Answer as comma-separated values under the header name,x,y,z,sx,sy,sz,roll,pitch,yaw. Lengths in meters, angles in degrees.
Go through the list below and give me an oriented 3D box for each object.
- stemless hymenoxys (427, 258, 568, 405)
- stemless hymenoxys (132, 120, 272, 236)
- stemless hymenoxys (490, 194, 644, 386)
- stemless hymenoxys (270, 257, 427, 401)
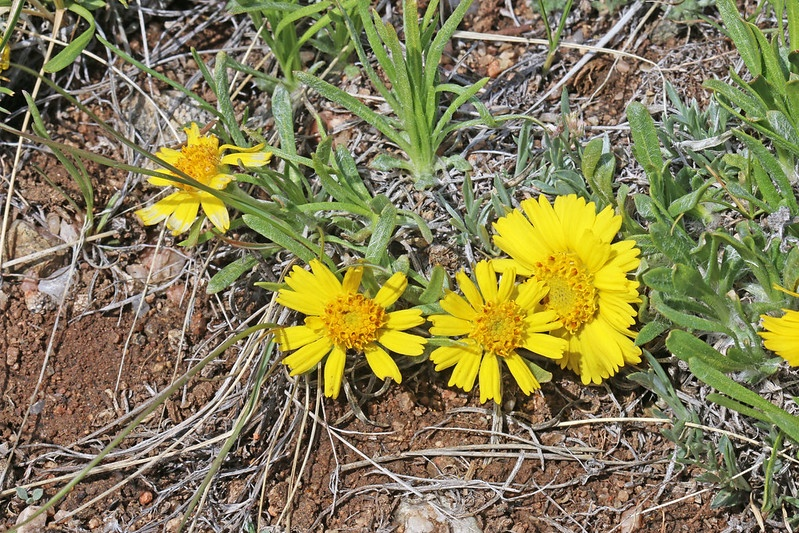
name,x,y,z,sx,sy,sz,roll,pitch,yaw
stemless hymenoxys,0.328,0.220,2.558,0.484,0.438,0.214,-36,-7,-3
stemless hymenoxys,-0.802,-0.311,2.727,0.531,0.200,0.541,10,-21,38
stemless hymenoxys,0.559,0.054,2.599,0.216,0.709,0.743,-47,7,33
stemless hymenoxys,-0.162,0.216,2.550,0.570,0.147,0.516,31,36,16
